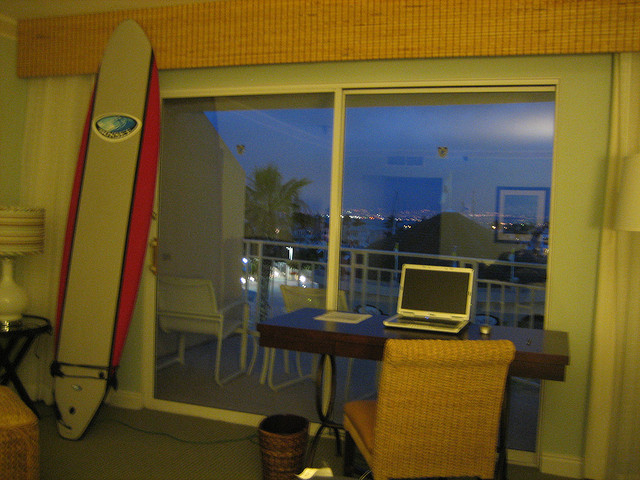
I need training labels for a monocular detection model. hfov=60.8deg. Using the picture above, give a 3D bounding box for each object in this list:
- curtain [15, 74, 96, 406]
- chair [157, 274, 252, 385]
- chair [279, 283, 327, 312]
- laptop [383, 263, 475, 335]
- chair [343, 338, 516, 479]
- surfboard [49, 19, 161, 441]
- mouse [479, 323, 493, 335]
[{"bbox_3d":[-2.180,0.011,4.592,0.545,3.035,0.263,1,-1,20],"label":"curtain"},{"bbox_3d":[-0.987,0.699,4.498,0.683,0.782,0.581,1,-1,25],"label":"chair"},{"bbox_3d":[-0.117,0.407,4.116,0.253,0.306,0.238,-1,-4,40],"label":"chair"},{"bbox_3d":[0.670,0.353,3.372,0.490,0.327,0.431,3,7,29],"label":"laptop"},{"bbox_3d":[0.579,0.796,3.195,0.742,1.248,0.848,1,14,-2],"label":"chair"},{"bbox_3d":[-1.606,0.020,4.303,0.714,3.317,0.364,9,-8,5],"label":"surfboard"},{"bbox_3d":[1.024,0.548,3.371,0.060,0.028,0.078,3,6,22],"label":"mouse"}]
